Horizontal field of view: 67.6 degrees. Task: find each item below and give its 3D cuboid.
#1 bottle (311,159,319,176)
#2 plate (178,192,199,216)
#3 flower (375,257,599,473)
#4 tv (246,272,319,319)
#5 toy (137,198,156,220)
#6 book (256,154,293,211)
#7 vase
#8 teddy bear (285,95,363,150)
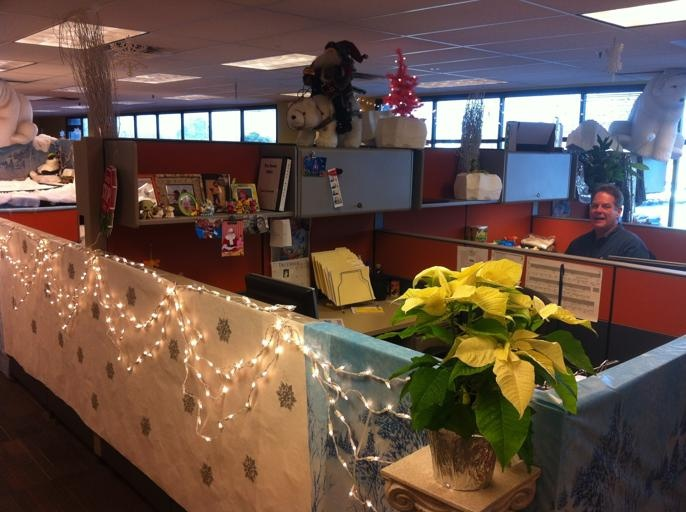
[{"bbox_3d":[-0.159,-0.521,3.009,0.011,0.090,0.044,12,17,41],"label":"bottle"},{"bbox_3d":[-0.826,-0.278,2.705,0.082,0.117,0.109,11,17,37],"label":"plate"},{"bbox_3d":[0.318,0.258,1.213,0.488,0.484,0.345,8,15,28],"label":"flower"},{"bbox_3d":[-0.296,0.171,2.360,0.141,0.132,0.497,-7,16,-32],"label":"tv"},{"bbox_3d":[-0.976,-0.232,2.539,0.087,0.105,0.089,-4,11,-21],"label":"toy"},{"bbox_3d":[-0.395,-0.416,2.980,0.068,0.294,0.271,5,-1,-38],"label":"book"},{"bbox_3d":[0.275,0.455,1.206,0.143,0.107,0.133,2,-2,-17],"label":"vase"},{"bbox_3d":[-0.141,-0.818,3.281,0.469,0.325,0.295,-3,8,-38],"label":"teddy bear"}]
